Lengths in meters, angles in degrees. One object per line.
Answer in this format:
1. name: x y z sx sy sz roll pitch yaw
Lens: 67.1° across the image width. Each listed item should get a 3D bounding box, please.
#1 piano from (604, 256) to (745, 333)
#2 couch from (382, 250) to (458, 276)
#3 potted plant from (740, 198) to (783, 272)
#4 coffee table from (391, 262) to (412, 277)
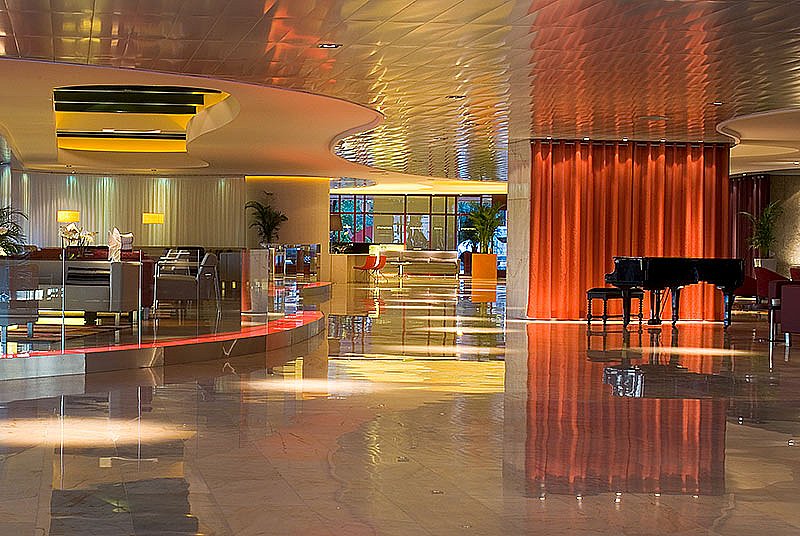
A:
1. piano: 5.333 0.469 11.786 2.555 1.400 1.156 -1 1 -19
2. couch: 1.214 -0.217 31.392 4.809 1.107 1.518 0 0 0
3. potted plant: 12.073 -1.164 20.145 1.160 2.162 1.954 0 1 22
4. coffee table: 0.194 0.060 29.790 0.942 0.422 0.819 0 -3 -14
